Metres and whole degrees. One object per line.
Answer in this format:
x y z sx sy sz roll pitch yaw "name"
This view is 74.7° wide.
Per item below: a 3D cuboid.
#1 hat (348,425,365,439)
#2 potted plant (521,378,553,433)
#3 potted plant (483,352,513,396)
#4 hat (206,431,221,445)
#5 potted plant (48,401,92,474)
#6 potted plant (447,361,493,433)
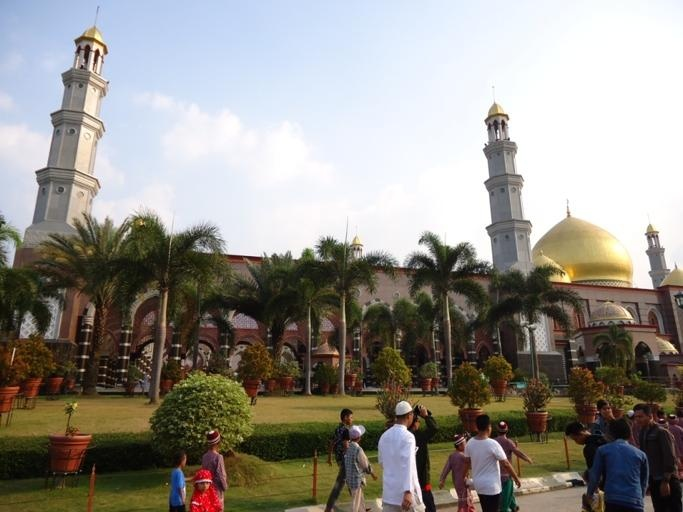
0.248 2.606 6.658 0.167 0.103 0.256 -2 12 29 "hat"
6.545 4.968 14.756 0.879 1.727 1.267 -8 -18 24 "potted plant"
7.748 5.964 22.021 1.356 1.908 1.622 -9 -28 25 "potted plant"
-1.907 2.677 6.662 0.229 0.187 0.222 -4 1 -23 "hat"
-5.213 3.429 8.479 0.764 1.195 0.656 7 -16 -25 "potted plant"
4.120 4.538 13.913 1.231 1.958 1.251 -13 -20 10 "potted plant"
